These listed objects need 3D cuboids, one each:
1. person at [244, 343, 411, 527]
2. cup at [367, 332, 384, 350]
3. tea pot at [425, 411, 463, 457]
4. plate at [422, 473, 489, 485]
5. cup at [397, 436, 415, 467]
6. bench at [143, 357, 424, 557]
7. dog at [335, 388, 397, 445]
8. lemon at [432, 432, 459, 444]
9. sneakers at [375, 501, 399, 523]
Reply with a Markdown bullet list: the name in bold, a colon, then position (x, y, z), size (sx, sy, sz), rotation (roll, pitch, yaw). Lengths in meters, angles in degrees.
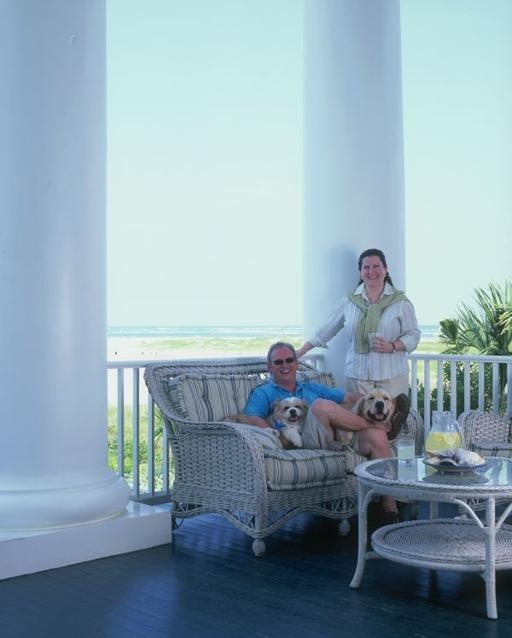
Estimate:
- **person**: position (0.357, 0.602, 3.392), size (1.009, 0.571, 0.722), rotation (18, -1, 29)
- **cup**: position (0.712, 0.130, 3.748), size (0.084, 0.095, 0.108), rotation (-11, -16, 43)
- **tea pot**: position (0.726, 0.447, 2.424), size (0.179, 0.190, 0.151), rotation (5, -8, -17)
- **plate**: position (0.687, 0.558, 2.160), size (0.207, 0.009, 0.284), rotation (-1, -5, 16)
- **cup**: position (0.577, 0.538, 2.475), size (0.092, 0.135, 0.086), rotation (-1, -2, 0)
- **bench**: position (0.042, 0.657, 3.216), size (0.857, 0.766, 1.213), rotation (-7, -8, 39)
- **dog**: position (0.644, 0.490, 3.446), size (0.294, 0.249, 0.546), rotation (5, 5, 0)
- **lemon**: position (0.736, 0.462, 2.419), size (0.070, 0.065, 0.038), rotation (-2, -15, 5)
- **sneakers**: position (0.677, 1.000, 3.246), size (0.070, 0.071, 0.184), rotation (0, -8, -5)
